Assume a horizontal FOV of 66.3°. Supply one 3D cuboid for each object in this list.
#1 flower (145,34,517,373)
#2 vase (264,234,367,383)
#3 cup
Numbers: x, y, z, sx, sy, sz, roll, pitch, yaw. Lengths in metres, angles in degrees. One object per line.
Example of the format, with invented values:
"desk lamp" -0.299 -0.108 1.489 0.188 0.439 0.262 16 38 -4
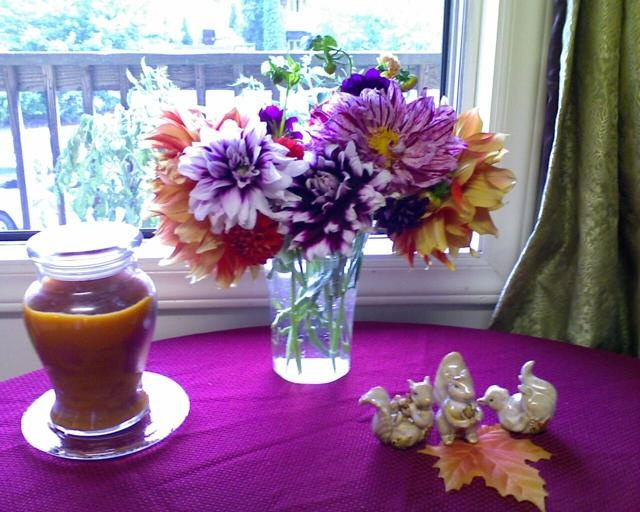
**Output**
"flower" 0.005 -0.043 0.673 0.438 0.485 0.219 -8 23 -17
"vase" -0.007 0.061 0.870 0.209 0.267 0.207 -1 19 -2
"cup" -0.309 0.096 0.665 0.155 0.259 0.163 -1 22 0
